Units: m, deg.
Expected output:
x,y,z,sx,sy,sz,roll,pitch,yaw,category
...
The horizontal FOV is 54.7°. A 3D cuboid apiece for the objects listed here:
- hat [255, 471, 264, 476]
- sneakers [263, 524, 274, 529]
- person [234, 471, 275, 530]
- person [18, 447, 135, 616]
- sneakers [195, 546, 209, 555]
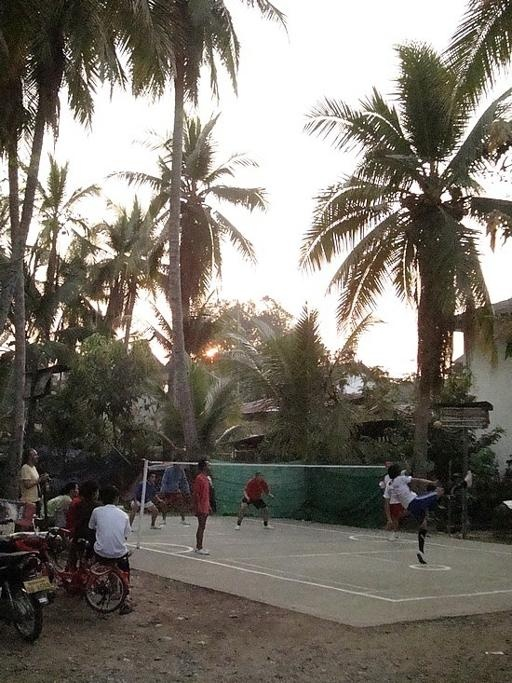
x,y,z,sx,sy,sz,roll,pitch,yaw,category
0.085,3.880,14.548,0.215,0.123,0.312,1,-10,3,hat
0.370,5.645,15.040,0.318,0.162,0.125,1,0,20,sneakers
-0.038,4.725,14.765,0.931,1.925,0.942,4,5,-9,person
-1.826,2.140,5.525,0.589,1.484,1.607,7,-1,-38,person
-1.089,4.168,9.830,0.304,0.144,0.118,1,-5,31,sneakers
